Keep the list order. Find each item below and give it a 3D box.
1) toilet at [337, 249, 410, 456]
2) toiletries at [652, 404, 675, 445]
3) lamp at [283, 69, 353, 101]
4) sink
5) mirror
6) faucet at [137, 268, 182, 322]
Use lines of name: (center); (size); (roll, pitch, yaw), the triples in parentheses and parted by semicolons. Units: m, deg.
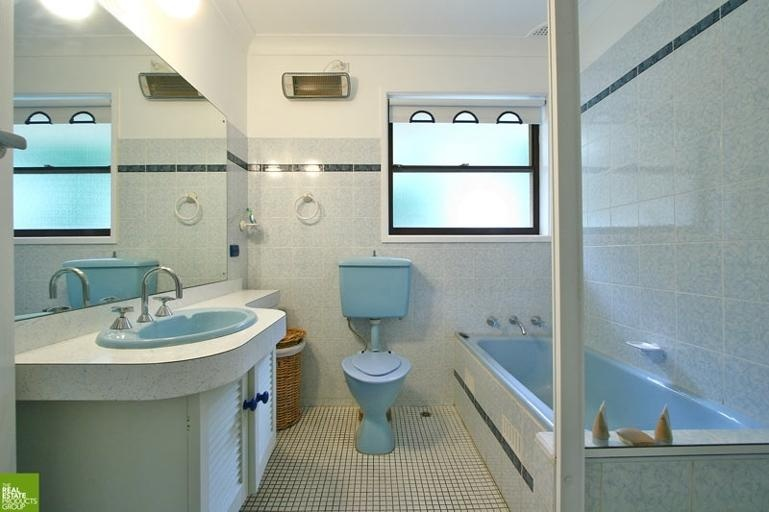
toilet: (-0.041, 0.577, 3.482); (0.470, 1.139, 0.703); (-2, 2, -5)
toiletries: (1.195, 0.720, 2.384); (0.073, 0.139, 0.095); (-1, 2, 26)
lamp: (-0.465, -1.150, 3.701); (0.458, 0.162, 0.276); (-1, 2, -1)
sink: (-0.921, 0.328, 2.595); (0.422, 0.111, 0.674); (0, 2, 33)
mirror: (-1.268, -0.472, 2.844); (0.202, 1.377, 1.233); (-1, 2, 19)
faucet: (-1.110, 0.172, 2.710); (0.187, 0.252, 0.429); (-2, 2, -24)
